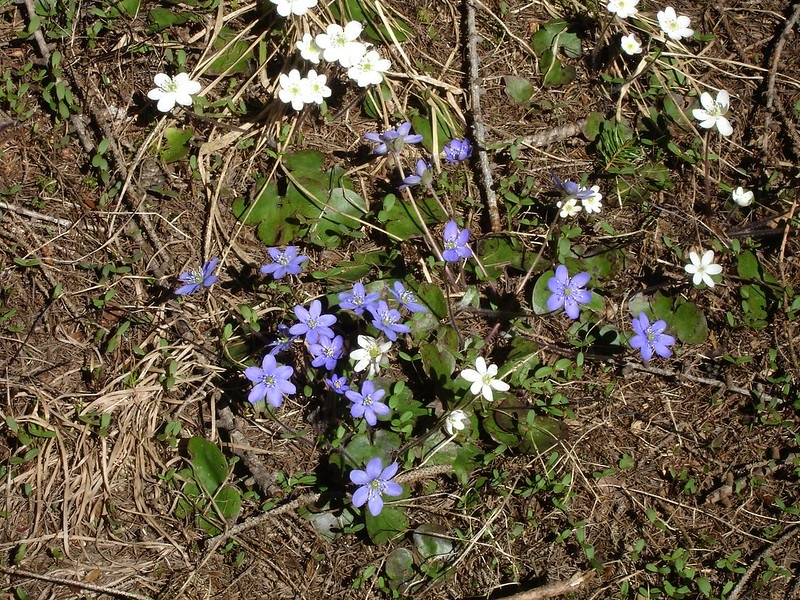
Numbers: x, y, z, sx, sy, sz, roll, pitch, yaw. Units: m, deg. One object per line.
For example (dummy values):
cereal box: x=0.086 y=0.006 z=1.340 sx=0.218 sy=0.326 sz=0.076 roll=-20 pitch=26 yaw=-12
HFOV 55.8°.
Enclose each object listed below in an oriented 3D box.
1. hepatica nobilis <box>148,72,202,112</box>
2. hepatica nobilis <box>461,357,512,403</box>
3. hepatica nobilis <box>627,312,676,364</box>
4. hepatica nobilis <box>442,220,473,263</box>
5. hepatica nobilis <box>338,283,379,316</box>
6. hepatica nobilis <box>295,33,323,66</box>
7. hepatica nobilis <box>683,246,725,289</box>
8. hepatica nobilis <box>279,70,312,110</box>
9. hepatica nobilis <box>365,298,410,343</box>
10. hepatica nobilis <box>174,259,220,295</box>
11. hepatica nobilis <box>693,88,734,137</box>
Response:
hepatica nobilis: x=-0.935 y=-0.859 z=3.117 sx=0.208 sy=0.086 sz=0.145 roll=-17 pitch=62 yaw=-12
hepatica nobilis: x=0.329 y=0.345 z=2.988 sx=0.134 sy=0.226 sz=0.158 roll=-34 pitch=65 yaw=-20
hepatica nobilis: x=1.007 y=0.145 z=3.029 sx=0.182 sy=0.051 sz=0.203 roll=28 pitch=80 yaw=-16
hepatica nobilis: x=0.205 y=-0.224 z=3.035 sx=0.153 sy=0.053 sz=0.154 roll=46 pitch=68 yaw=-30
hepatica nobilis: x=-0.170 y=0.001 z=2.969 sx=0.123 sy=0.040 sz=0.141 roll=-4 pitch=79 yaw=-1
hepatica nobilis: x=-0.378 y=-1.039 z=3.179 sx=0.112 sy=0.023 sz=0.117 roll=36 pitch=59 yaw=-28
hepatica nobilis: x=1.257 y=-0.123 z=3.153 sx=0.158 sy=0.061 sz=0.176 roll=-36 pitch=85 yaw=3
hepatica nobilis: x=-0.437 y=-0.871 z=3.150 sx=0.133 sy=0.100 sz=0.126 roll=14 pitch=60 yaw=6
hepatica nobilis: x=-0.051 y=0.089 z=2.889 sx=0.153 sy=0.037 sz=0.153 roll=32 pitch=48 yaw=-11
hepatica nobilis: x=-0.789 y=-0.083 z=3.004 sx=0.149 sy=0.066 sz=0.164 roll=-10 pitch=57 yaw=0
hepatica nobilis: x=1.338 y=-0.796 z=3.199 sx=0.171 sy=0.109 sz=0.154 roll=22 pitch=61 yaw=10
